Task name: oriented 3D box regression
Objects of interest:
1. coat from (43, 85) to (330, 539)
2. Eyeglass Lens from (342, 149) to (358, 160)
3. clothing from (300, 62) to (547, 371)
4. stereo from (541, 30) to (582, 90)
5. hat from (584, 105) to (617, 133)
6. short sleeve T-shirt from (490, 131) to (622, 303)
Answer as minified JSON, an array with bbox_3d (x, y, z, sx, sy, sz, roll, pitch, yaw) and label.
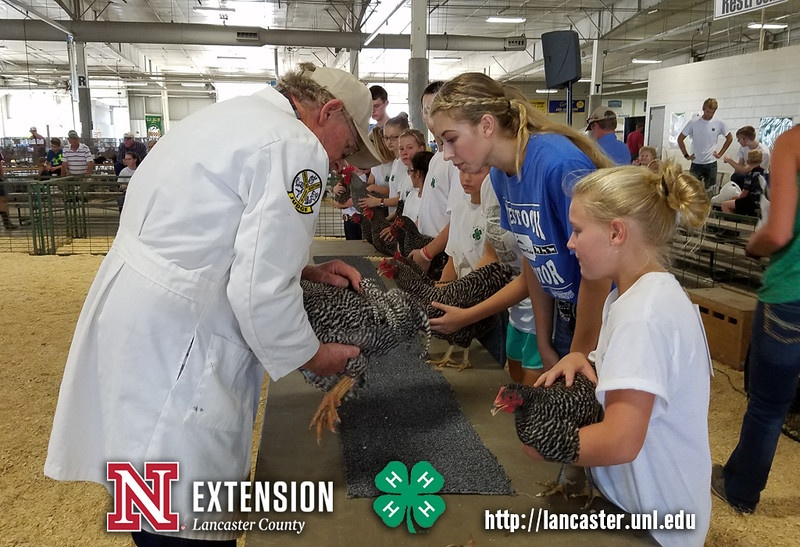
[{"bbox_3d":[-0.940,-0.037,2.631,1.399,2.139,1.252,1,10,-39],"label":"coat"},{"bbox_3d":[-0.210,-0.516,2.187,0.014,0.043,0.042,36,-4,15],"label":"Eyeglass Lens"},{"bbox_3d":[0.147,-0.023,3.562,0.649,1.920,1.687,2,14,32],"label":"clothing"},{"bbox_3d":[1.618,-2.198,5.151,0.358,0.521,0.180,19,52,40],"label":"stereo"},{"bbox_3d":[2.901,-2.265,7.499,0.330,0.249,0.450,-4,16,-12],"label":"hat"},{"bbox_3d":[0.666,-0.235,2.293,0.218,0.757,0.466,-9,15,-18],"label":"short sleeve T-shirt"}]
